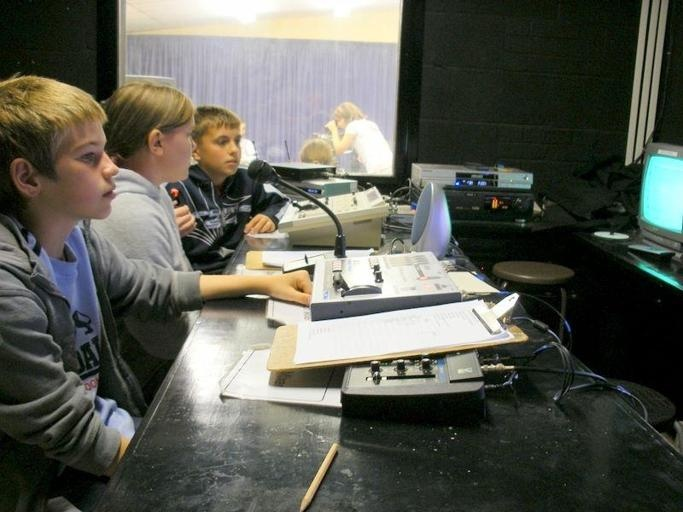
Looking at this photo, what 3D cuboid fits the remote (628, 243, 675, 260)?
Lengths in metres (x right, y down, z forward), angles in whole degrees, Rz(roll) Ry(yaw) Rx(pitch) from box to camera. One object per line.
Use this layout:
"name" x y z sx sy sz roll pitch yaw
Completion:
"remote" 1.404 -0.022 2.277 0.155 0.030 0.287 4 10 9
